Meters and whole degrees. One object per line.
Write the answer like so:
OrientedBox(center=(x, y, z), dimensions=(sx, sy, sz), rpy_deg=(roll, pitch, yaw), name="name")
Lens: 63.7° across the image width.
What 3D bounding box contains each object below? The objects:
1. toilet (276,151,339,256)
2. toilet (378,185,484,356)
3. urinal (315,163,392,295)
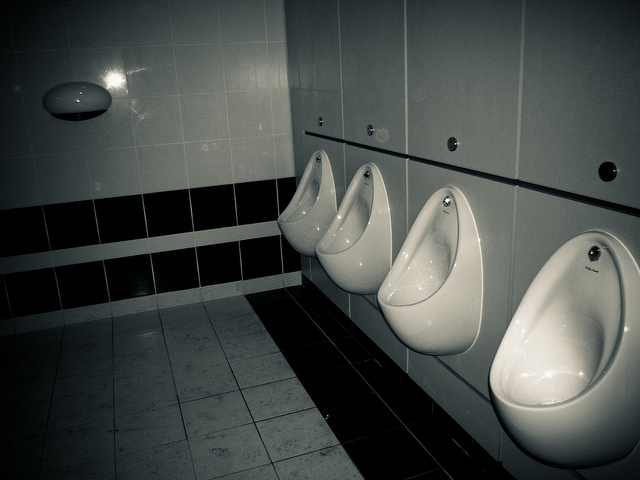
OrientedBox(center=(-0.076, -0.261, 3.297), dimensions=(0.369, 0.780, 0.426), rpy_deg=(-10, 26, -25), name="toilet")
OrientedBox(center=(0.421, 0.139, 2.141), dimensions=(0.397, 0.664, 0.337), rpy_deg=(-9, 18, -18), name="toilet")
OrientedBox(center=(0.136, -0.009, 2.708), dimensions=(0.356, 0.712, 0.389), rpy_deg=(-5, 21, -14), name="urinal")
